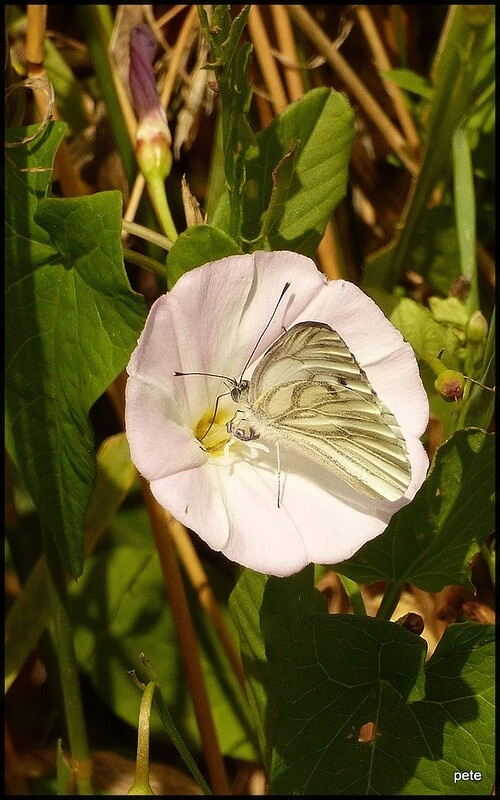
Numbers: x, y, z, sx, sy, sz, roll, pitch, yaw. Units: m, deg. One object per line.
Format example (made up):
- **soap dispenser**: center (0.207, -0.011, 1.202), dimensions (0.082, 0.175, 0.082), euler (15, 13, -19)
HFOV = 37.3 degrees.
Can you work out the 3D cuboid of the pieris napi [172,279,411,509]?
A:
- **pieris napi**: center (0.068, -0.023, 1.293), dimensions (0.365, 0.464, 0.336), euler (2, 106, 3)
